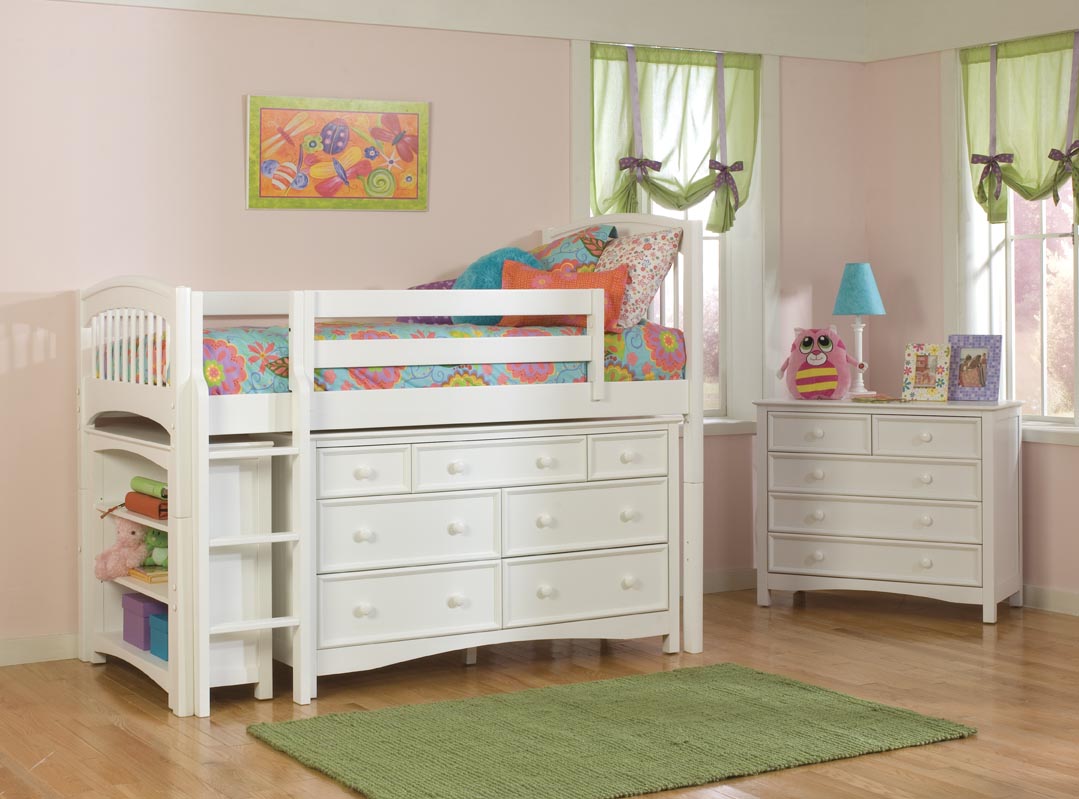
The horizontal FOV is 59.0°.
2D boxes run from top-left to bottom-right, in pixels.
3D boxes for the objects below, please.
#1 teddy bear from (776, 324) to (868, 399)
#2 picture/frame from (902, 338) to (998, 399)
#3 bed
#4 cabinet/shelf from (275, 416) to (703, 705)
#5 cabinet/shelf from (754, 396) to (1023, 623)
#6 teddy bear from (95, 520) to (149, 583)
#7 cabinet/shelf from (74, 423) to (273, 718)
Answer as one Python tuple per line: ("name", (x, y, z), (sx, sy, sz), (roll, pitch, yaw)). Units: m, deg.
("teddy bear", (1.436, -0.176, 4.840), (0.458, 0.380, 0.219), (-1, -4, 30))
("picture/frame", (1.966, -0.136, 4.533), (0.314, 0.210, 0.022), (-1, -9, 33))
("bed", (-0.549, -0.245, 3.637), (1.692, 0.664, 0.874), (-1, 4, -18))
("cabinet/shelf", (-0.253, 0.591, 3.812), (1.636, 0.921, 0.606), (1, -3, -32))
("cabinet/shelf", (1.736, 0.523, 4.695), (0.520, 0.942, 1.193), (2, -3, -43))
("teddy bear", (-1.572, 0.551, 3.600), (0.202, 0.228, 0.147), (-1, 8, -33))
("cabinet/shelf", (-1.270, 0.605, 3.353), (0.372, 0.863, 0.942), (-3, 7, -40))
